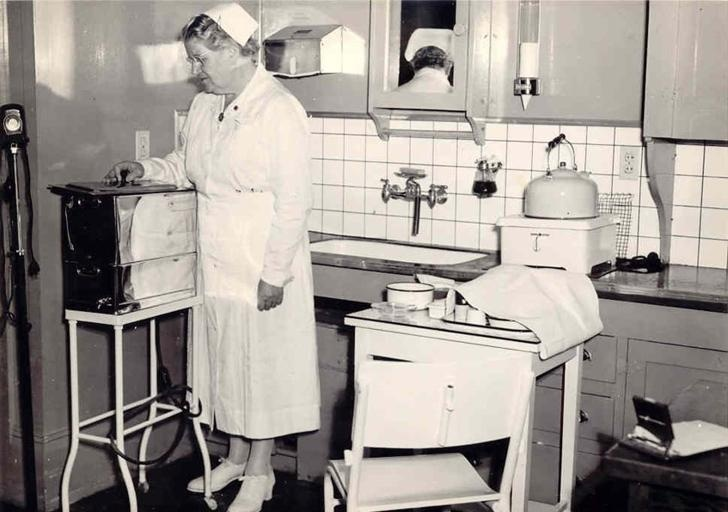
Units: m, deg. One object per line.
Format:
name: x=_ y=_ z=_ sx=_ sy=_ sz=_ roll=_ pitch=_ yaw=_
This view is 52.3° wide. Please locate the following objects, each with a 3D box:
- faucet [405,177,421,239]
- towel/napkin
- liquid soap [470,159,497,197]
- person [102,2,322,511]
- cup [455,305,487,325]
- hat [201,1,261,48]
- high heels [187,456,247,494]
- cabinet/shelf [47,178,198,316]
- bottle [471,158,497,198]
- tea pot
faucet: x=0.256 y=-0.242 z=3.789 sx=0.075 sy=0.306 sz=0.175 roll=2 pitch=6 yaw=11
towel/napkin: x=0.606 y=0.164 z=2.675 sx=0.391 sy=0.129 sz=0.399 roll=-15 pitch=23 yaw=-42
liquid soap: x=0.602 y=-0.383 z=3.635 sx=0.184 sy=0.175 sz=0.119 roll=-10 pitch=13 yaw=-42
person: x=-0.524 y=0.057 z=3.035 sx=0.688 sy=2.086 sz=0.349 roll=1 pitch=6 yaw=4
cup: x=0.382 y=0.209 z=2.658 sx=0.075 sy=0.070 sz=0.076 roll=3 pitch=-3 yaw=0
hat: x=-0.507 y=-0.889 z=2.840 sx=0.098 sy=0.163 sz=0.194 roll=7 pitch=8 yaw=44
high heels: x=-0.608 y=0.949 z=3.233 sx=0.116 sy=0.115 sz=0.311 roll=7 pitch=7 yaw=39
cabinet/shelf: x=-0.926 y=-0.044 z=2.943 sx=0.317 sy=0.477 sz=0.561 roll=4 pitch=6 yaw=30
bottle: x=0.605 y=-0.380 z=3.634 sx=0.191 sy=0.184 sz=0.125 roll=-8 pitch=10 yaw=-32
tea pot: x=0.817 y=-0.365 z=3.292 sx=0.392 sy=0.432 sz=0.393 roll=-2 pitch=3 yaw=0
